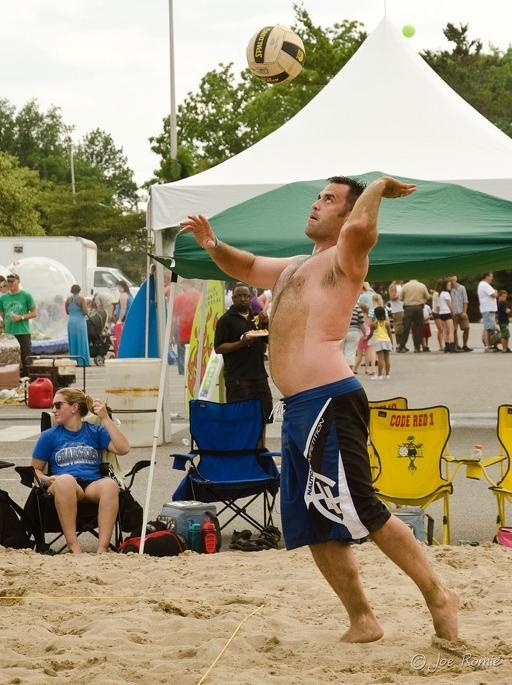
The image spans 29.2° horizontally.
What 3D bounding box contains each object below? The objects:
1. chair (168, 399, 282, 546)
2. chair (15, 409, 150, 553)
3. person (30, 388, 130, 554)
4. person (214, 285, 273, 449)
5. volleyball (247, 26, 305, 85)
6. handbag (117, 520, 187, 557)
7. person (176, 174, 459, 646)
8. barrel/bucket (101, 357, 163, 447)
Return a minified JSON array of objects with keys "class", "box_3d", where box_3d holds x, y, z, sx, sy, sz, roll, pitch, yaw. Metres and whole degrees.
[{"class":"chair","box_3d":[-0.185,0.786,6.502,0.711,0.951,0.620,0,-1,-19]},{"class":"chair","box_3d":[-1.052,0.776,5.958,0.781,1.048,0.597,-1,-10,-7]},{"class":"person","box_3d":[-0.977,0.688,5.995,0.599,0.983,0.569,-2,6,-42]},{"class":"person","box_3d":[-0.036,0.280,8.317,0.526,1.549,0.584,3,8,41]},{"class":"volleyball","box_3d":[0.145,-2.266,7.689,0.443,0.436,0.339,1,0,6]},{"class":"handbag","box_3d":[-0.601,1.152,5.784,0.377,0.150,0.344,1,0,-25]},{"class":"person","box_3d":[0.349,0.266,3.833,0.458,1.836,0.725,0,1,-39]},{"class":"barrel/bucket","box_3d":[-1.205,0.558,9.961,0.664,1.017,0.618,0,-1,0]}]
